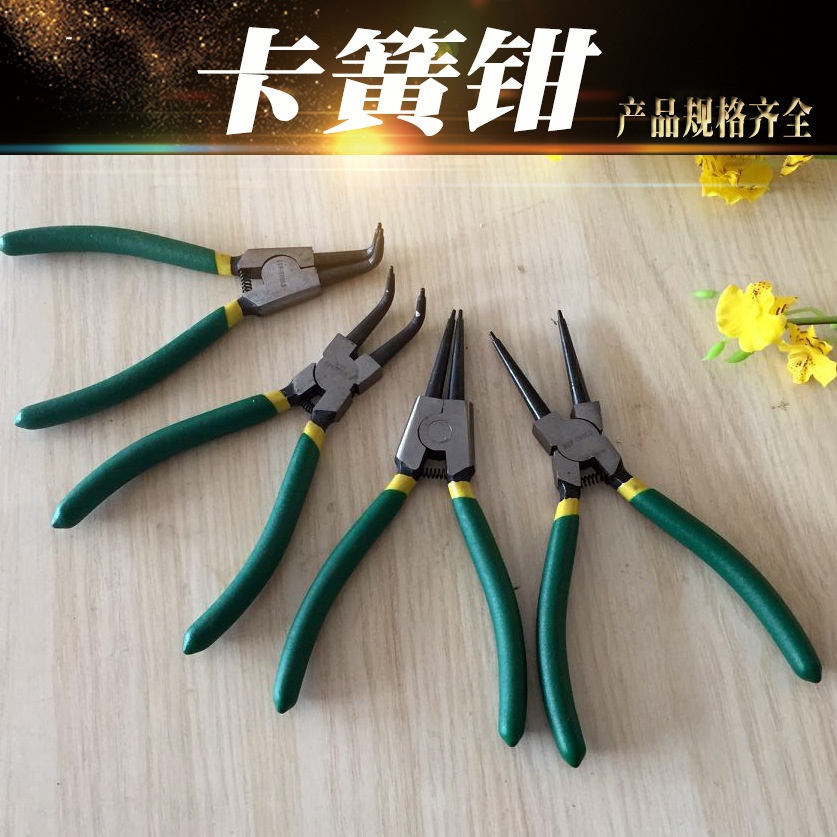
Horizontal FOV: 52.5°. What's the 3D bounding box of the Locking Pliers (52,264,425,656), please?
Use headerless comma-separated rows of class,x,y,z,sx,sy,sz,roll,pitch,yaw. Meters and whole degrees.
Locking Pliers,-0.173,0.052,0.977,0.202,0.061,0.500,39,75,11
